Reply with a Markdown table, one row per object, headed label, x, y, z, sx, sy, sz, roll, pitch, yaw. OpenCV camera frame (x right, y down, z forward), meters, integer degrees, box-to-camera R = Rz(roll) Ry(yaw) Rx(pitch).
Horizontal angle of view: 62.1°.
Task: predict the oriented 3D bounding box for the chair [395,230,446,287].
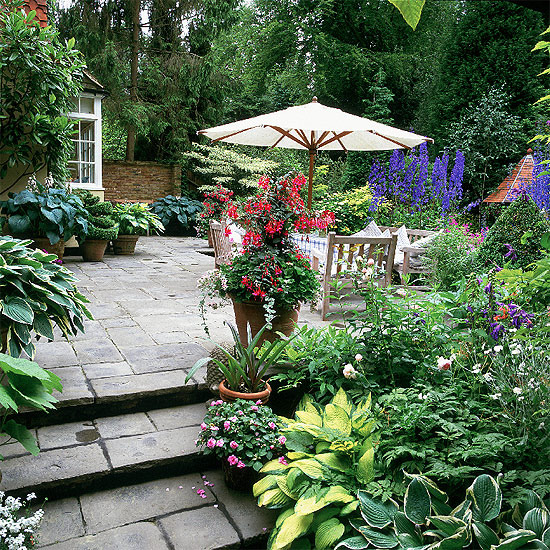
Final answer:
| label | x | y | z | sx | sy | sz | roll | pitch | yaw |
| --- | --- | --- | --- | --- | --- | --- | --- | --- | --- |
| chair | 1.711 | -0.177 | 5.332 | 0.341 | 0.367 | 0.787 | 6 | 14 | 19 |

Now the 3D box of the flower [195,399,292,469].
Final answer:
| label | x | y | z | sx | sy | sz | roll | pitch | yaw |
| --- | --- | --- | --- | --- | --- | --- | --- | --- | --- |
| flower | -0.157 | 0.775 | 2.238 | 0.383 | 0.170 | 0.355 | -8 | 33 | -33 |

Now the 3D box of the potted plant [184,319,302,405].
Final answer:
| label | x | y | z | sx | sy | sz | roll | pitch | yaw |
| --- | --- | --- | --- | --- | --- | --- | --- | --- | --- |
| potted plant | -0.185 | 0.534 | 2.701 | 0.573 | 0.193 | 0.519 | 1 | 7 | -19 |

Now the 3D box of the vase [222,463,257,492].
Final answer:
| label | x | y | z | sx | sy | sz | roll | pitch | yaw |
| --- | --- | --- | --- | --- | --- | --- | --- | --- | --- |
| vase | -0.185 | 1.011 | 2.310 | 0.188 | 0.120 | 0.192 | 2 | -4 | -10 |

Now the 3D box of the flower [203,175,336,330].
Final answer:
| label | x | y | z | sx | sy | sz | roll | pitch | yaw |
| --- | --- | --- | --- | --- | --- | --- | --- | --- | --- |
| flower | -0.061 | -0.135 | 3.306 | 0.830 | 1.221 | 0.560 | 7 | 10 | 5 |
